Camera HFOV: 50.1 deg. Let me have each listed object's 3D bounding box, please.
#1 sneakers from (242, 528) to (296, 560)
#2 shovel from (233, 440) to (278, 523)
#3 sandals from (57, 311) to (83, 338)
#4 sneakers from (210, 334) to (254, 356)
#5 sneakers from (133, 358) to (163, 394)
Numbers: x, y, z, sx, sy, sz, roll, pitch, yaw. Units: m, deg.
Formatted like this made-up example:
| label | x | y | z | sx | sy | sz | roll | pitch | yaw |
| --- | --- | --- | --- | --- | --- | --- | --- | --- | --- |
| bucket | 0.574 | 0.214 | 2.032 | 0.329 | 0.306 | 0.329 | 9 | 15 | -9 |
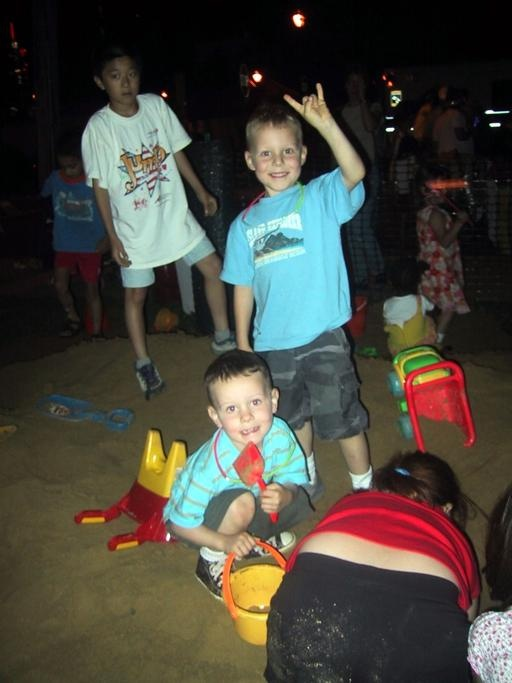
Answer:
| label | x | y | z | sx | sy | sz | roll | pitch | yaw |
| --- | --- | --- | --- | --- | --- | --- | --- | --- | --- |
| sneakers | 0.071 | 0.837 | 2.249 | 0.249 | 0.083 | 0.149 | -6 | 4 | -16 |
| shovel | -0.007 | 0.429 | 1.886 | 0.033 | 0.182 | 0.091 | -9 | 28 | 46 |
| sandals | -1.709 | -0.132 | 5.033 | 0.268 | 0.242 | 0.132 | 1 | 18 | -8 |
| sneakers | -0.140 | 0.016 | 2.998 | 0.203 | 0.124 | 0.065 | -11 | 33 | -6 |
| sneakers | -0.670 | 0.224 | 3.398 | 0.132 | 0.229 | 0.099 | -25 | -12 | -9 |
